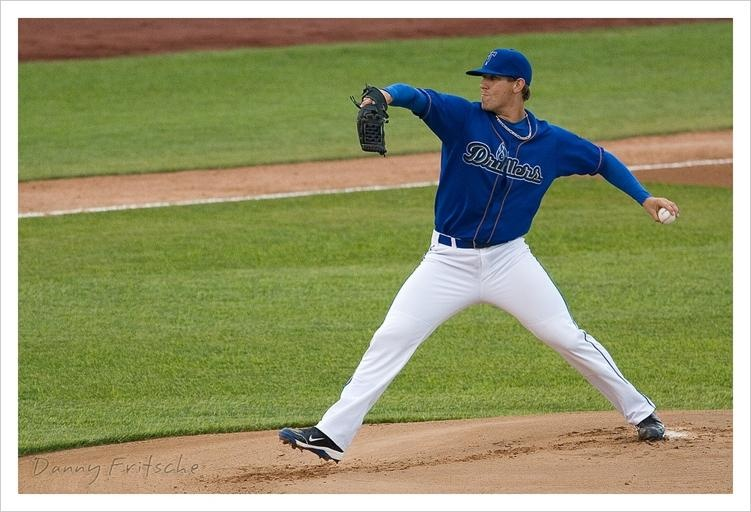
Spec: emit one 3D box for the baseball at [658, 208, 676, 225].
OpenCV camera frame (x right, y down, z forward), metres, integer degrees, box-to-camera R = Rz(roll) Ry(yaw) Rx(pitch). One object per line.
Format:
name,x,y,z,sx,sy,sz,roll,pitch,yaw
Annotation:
baseball,3.074,-0.410,15.783,0.189,0.165,0.168,1,17,5

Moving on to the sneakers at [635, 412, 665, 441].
sneakers,2.956,1.828,16.071,0.179,0.176,0.430,1,9,15

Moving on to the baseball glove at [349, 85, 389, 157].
baseball glove,-0.076,-1.362,15.476,0.495,0.636,0.313,-2,-6,-24
